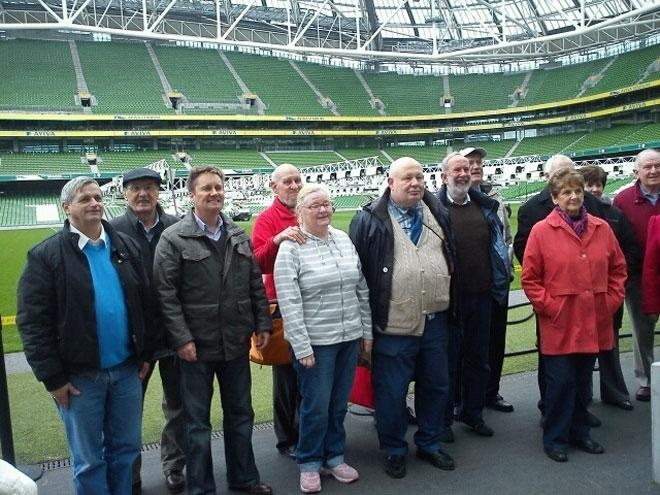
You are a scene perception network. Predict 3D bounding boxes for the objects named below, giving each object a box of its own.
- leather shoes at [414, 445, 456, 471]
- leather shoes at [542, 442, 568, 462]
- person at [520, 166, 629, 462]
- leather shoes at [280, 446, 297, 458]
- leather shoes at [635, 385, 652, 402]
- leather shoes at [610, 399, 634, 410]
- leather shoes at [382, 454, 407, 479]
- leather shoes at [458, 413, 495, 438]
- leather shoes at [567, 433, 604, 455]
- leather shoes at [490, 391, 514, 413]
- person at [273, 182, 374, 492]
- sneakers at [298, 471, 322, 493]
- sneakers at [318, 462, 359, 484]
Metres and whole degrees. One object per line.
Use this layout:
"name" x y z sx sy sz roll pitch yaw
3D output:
"leather shoes" 0.911 1.771 5.100 0.283 0.125 0.133 1 10 41
"leather shoes" 1.909 1.721 5.066 0.188 0.110 0.175 -4 4 17
"person" 2.142 0.529 5.211 0.878 2.417 0.446 -5 4 -14
"leather shoes" -0.366 1.785 5.287 0.123 0.047 0.101 -7 -10 43
"leather shoes" 3.105 1.448 5.968 0.125 0.124 0.197 -2 5 39
"leather shoes" 2.832 1.518 5.840 0.068 0.081 0.197 0 -4 -41
"leather shoes" 0.539 1.802 4.960 0.161 0.152 0.148 -5 4 -6
"leather shoes" 1.366 1.643 5.605 0.113 0.145 0.326 -7 8 -41
"leather shoes" 2.194 1.685 5.151 0.107 0.108 0.243 -12 7 -41
"leather shoes" 1.703 1.543 5.952 0.109 0.102 0.234 -3 -3 -28
"person" -0.057 0.699 4.926 0.715 2.444 0.389 -5 4 -12
"sneakers" -0.160 1.870 4.869 0.176 0.148 0.224 -5 4 -4
"sneakers" 0.073 1.845 4.959 0.257 0.118 0.128 0 2 24
